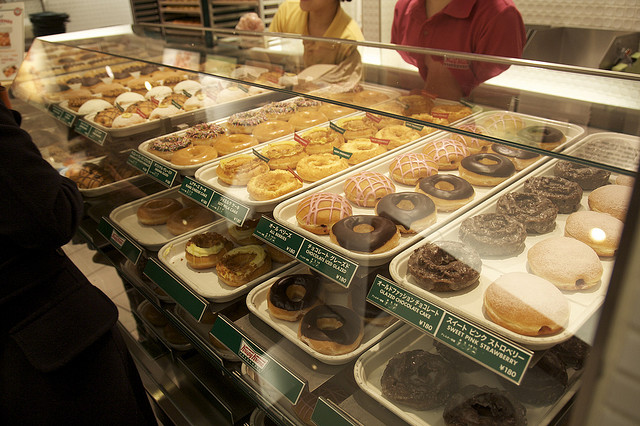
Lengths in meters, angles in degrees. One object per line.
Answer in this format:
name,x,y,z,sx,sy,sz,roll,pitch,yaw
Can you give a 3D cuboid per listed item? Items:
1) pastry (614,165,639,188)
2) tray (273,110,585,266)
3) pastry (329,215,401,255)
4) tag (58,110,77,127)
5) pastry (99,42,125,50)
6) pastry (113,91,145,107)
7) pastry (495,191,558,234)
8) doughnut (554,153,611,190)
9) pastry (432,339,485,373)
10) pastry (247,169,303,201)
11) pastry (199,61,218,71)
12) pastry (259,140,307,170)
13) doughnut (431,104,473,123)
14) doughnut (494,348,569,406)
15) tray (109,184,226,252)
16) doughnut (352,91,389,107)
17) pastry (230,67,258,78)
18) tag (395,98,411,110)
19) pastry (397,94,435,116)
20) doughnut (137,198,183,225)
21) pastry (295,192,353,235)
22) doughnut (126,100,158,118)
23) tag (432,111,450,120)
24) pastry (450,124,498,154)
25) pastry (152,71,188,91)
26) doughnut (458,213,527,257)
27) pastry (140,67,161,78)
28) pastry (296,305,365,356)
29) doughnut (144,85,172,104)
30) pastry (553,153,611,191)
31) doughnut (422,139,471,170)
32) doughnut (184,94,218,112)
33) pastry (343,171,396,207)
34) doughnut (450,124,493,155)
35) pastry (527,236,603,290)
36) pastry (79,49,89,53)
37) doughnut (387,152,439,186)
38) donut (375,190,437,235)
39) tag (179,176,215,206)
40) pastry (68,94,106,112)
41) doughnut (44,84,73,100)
pastry,0.923,-0.114,1.267,0.070,0.017,0.077,-9,27,11
tray,0.416,-0.138,1.793,1.201,0.113,0.600,-28,36,-25
pastry,0.184,0.086,1.712,0.191,0.066,0.189,10,28,22
tag,-1.681,-0.645,2.807,0.127,0.077,0.013,25,7,26
pastry,-1.410,-1.137,2.837,0.117,0.026,0.110,-18,29,-38
pastry,-1.270,-0.757,2.836,0.132,0.072,0.129,-6,8,-37
pastry,0.882,0.004,1.769,0.244,0.080,0.250,-41,21,-25
doughnut,1.100,-0.199,1.725,0.210,0.066,0.203,0,35,12
pastry,0.586,0.584,1.740,0.129,0.045,0.115,37,16,19
pastry,-0.223,-0.147,2.069,0.187,0.058,0.183,-19,30,-29
pastry,-0.624,-0.832,2.330,0.080,0.018,0.075,-14,33,-15
pastry,-0.200,-0.303,2.313,0.211,0.071,0.214,-11,4,33
doughnut,0.551,-0.428,1.743,0.117,0.033,0.115,-19,32,-29
doughnut,0.794,0.627,1.617,0.226,0.096,0.226,-16,-11,30
tray,-0.905,0.059,2.560,0.578,0.075,0.398,-24,41,-30
doughnut,0.210,-0.500,1.824,0.151,0.028,0.133,19,40,21
pastry,-0.395,-0.738,2.185,0.145,0.040,0.072,3,37,1
tag,0.346,-0.464,1.778,0.056,0.014,0.051,27,49,13
pastry,0.416,-0.465,1.781,0.125,0.039,0.120,-7,38,-2
doughnut,-0.947,-0.052,2.492,0.186,0.059,0.173,8,29,12
pastry,0.011,-0.005,1.872,0.206,0.106,0.201,-2,26,0
doughnut,-1.136,-0.685,2.711,0.150,0.042,0.137,25,40,32
tag,0.486,-0.402,1.708,0.069,0.009,0.059,16,39,18
pastry,0.703,-0.356,1.887,0.160,0.084,0.157,-22,31,-36
pastry,-1.017,-0.914,2.831,0.168,0.049,0.169,23,38,34
doughnut,0.669,0.050,1.650,0.190,0.056,0.185,-30,40,-32
pastry,-1.171,-0.986,2.909,0.107,0.030,0.092,10,40,18
pastry,0.038,0.528,1.896,0.331,0.103,0.321,7,18,1
doughnut,-1.072,-0.822,2.791,0.160,0.083,0.157,-21,32,-33
pastry,1.113,-0.177,1.760,0.213,0.067,0.205,0,36,9
doughnut,0.620,-0.295,2.035,0.171,0.079,0.164,-1,28,3
doughnut,-0.772,-0.714,2.677,0.144,0.061,0.139,-4,25,-8
pastry,0.264,-0.095,2.076,0.262,0.137,0.283,-5,10,-2
doughnut,0.688,-0.362,1.899,0.157,0.090,0.157,16,34,29
pastry,0.938,0.164,1.579,0.232,0.118,0.256,-7,37,32
pastry,-1.637,-1.133,2.914,0.043,0.030,0.042,5,11,21
doughnut,0.446,-0.219,2.081,0.182,0.089,0.175,-1,24,7
donut,0.376,-0.015,1.810,0.210,0.072,0.206,-29,40,-35
tag,-0.636,-0.114,2.156,0.017,0.226,0.102,5,74,28
pastry,-1.609,-0.758,2.866,0.171,0.047,0.166,3,23,3
doughnut,-1.815,-0.850,2.900,0.134,0.042,0.128,0,34,-3
